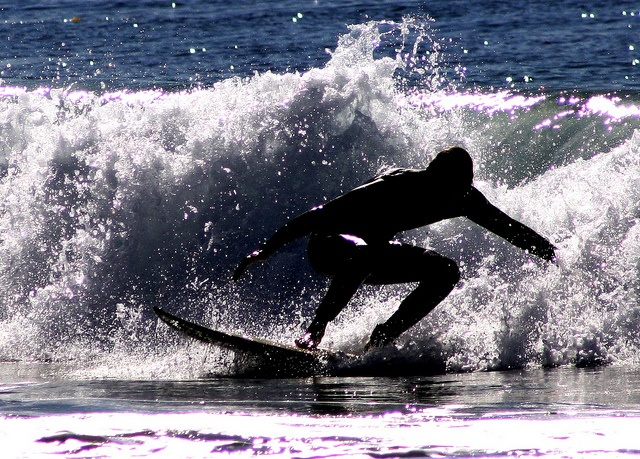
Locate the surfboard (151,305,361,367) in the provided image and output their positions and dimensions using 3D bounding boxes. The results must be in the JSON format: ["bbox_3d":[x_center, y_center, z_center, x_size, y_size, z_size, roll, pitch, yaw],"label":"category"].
[{"bbox_3d":[-0.744,1.297,14.336,2.365,0.238,0.206,12,-66,3],"label":"surfboard"}]
